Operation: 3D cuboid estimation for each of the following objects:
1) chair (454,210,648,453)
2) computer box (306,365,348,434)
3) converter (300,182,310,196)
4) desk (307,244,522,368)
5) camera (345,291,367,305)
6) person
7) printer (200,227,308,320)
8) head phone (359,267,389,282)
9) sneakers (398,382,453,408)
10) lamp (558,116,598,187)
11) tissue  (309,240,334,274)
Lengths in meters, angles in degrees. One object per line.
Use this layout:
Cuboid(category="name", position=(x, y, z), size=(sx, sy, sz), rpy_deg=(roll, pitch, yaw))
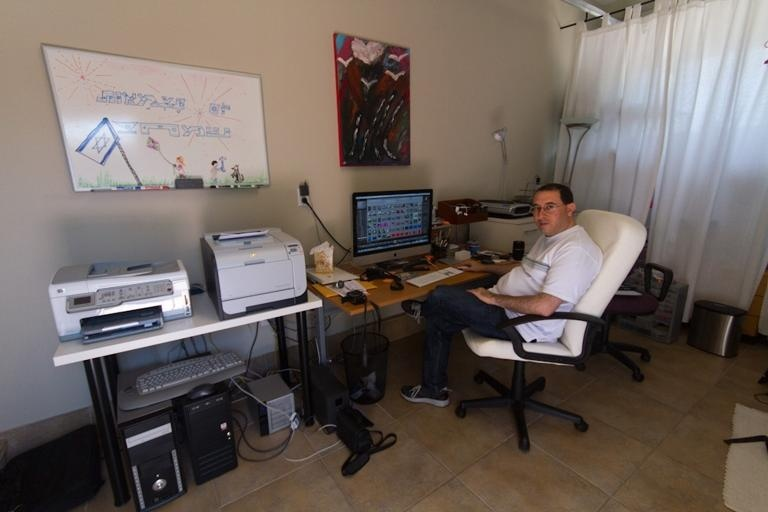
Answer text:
Cuboid(category="chair", position=(0.826, 0.273, 4.310), size=(1.615, 2.287, 1.506), rpy_deg=(2, 14, 1))
Cuboid(category="computer box", position=(-0.410, 1.031, 3.502), size=(0.212, 0.282, 0.402), rpy_deg=(-8, 23, -33))
Cuboid(category="converter", position=(-0.615, -0.517, 3.842), size=(0.018, 0.077, 0.105), rpy_deg=(1, 9, 42))
Cuboid(category="desk", position=(0.000, 0.275, 3.537), size=(1.401, 0.673, 0.742), rpy_deg=(-18, 34, -30))
Cuboid(category="camera", position=(-0.191, 0.283, 3.386), size=(0.082, 0.039, 0.118), rpy_deg=(18, 24, 41))
Cuboid(category="person", position=(0.835, 0.311, 3.670), size=(1.359, 1.686, 1.068), rpy_deg=(6, 6, 8))
Cuboid(category="printer", position=(-0.896, 0.067, 3.373), size=(0.593, 0.519, 0.587), rpy_deg=(-11, 20, -32))
Cuboid(category="head phone", position=(-0.076, 0.141, 3.764), size=(0.106, 0.051, 0.141), rpy_deg=(-11, 19, -34))
Cuboid(category="sneakers", position=(0.317, 1.009, 3.704), size=(0.355, 0.137, 0.153), rpy_deg=(8, 30, 14))
Cuboid(category="lamp", position=(2.010, -1.048, 5.181), size=(0.297, 0.610, 0.117), rpy_deg=(5, 20, 31))
Cuboid(category="tissue ", position=(-0.451, 0.013, 3.882), size=(0.204, 0.274, 0.270), rpy_deg=(4, 28, 3))
